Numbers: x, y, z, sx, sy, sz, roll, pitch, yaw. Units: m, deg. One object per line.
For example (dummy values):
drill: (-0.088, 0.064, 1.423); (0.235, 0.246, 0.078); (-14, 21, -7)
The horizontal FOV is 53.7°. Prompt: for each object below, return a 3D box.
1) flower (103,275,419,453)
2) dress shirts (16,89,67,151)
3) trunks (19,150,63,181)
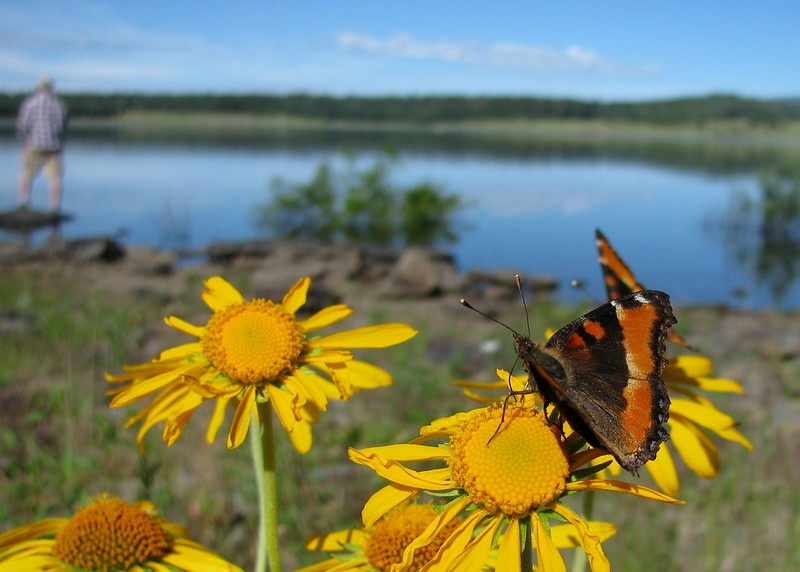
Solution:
flower: (-0.657, 0.374, 3.688); (0.950, 0.370, 1.093); (-13, 33, 23)
dress shirts: (-1.813, -0.836, 3.998); (0.138, 0.305, 0.218); (13, 16, 40)
trunks: (-1.785, -0.598, 3.973); (0.166, 0.226, 0.114); (1, 1, -6)
